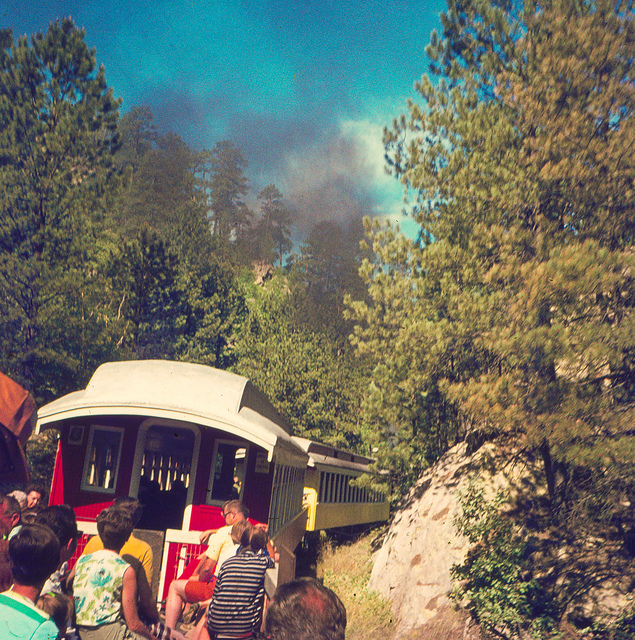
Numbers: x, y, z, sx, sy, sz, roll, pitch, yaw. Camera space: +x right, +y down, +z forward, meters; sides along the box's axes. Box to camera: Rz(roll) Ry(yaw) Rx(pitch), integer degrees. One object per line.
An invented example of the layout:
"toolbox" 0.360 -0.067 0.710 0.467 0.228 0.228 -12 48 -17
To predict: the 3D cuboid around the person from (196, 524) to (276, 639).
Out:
"person" -0.656 2.202 4.836 0.489 0.913 0.329 4 -16 -5
